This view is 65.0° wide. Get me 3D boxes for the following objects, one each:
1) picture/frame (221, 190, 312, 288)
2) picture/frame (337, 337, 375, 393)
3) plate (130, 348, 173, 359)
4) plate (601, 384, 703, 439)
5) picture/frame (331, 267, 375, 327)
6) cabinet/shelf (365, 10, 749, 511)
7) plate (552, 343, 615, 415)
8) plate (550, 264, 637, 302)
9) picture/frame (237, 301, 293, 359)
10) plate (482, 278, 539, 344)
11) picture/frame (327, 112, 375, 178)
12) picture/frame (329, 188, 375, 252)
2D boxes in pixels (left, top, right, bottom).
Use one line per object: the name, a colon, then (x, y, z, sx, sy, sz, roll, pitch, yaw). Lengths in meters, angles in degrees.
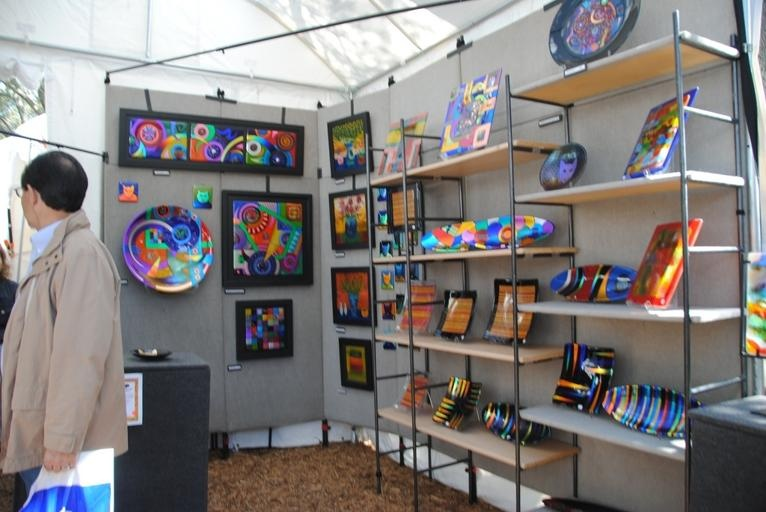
picture/frame: (-1.130, -0.164, 5.600, 0.821, 0.920, 0.057, 1, -4, -29)
picture/frame: (-0.251, 0.982, 5.561, 0.418, 0.460, 0.031, -2, 2, 44)
plate: (-1.535, 0.638, 3.995, 0.231, 0.054, 0.346, 0, -1, -28)
plate: (1.537, 0.890, 3.504, 0.331, 0.072, 0.280, 15, 53, 28)
picture/frame: (-0.263, 0.354, 5.470, 0.026, 0.588, 0.506, -2, 1, -38)
cabinet/shelf: (1.089, 0.064, 3.906, 2.201, 3.443, 0.585, -1, -1, 45)
plate: (1.274, 0.776, 3.794, 0.063, 0.479, 0.365, 25, -13, -38)
plate: (1.319, 0.161, 3.776, 0.540, 0.238, 0.238, -1, -1, 35)
picture/frame: (-1.127, 0.675, 5.572, 0.483, 0.540, 0.049, 1, -2, -29)
plate: (0.888, 0.362, 4.182, 0.309, 0.462, 0.088, 5, -8, 44)
picture/frame: (-0.322, -1.032, 5.592, 0.496, 0.537, 0.042, -2, 4, 39)
picture/frame: (-0.301, -0.348, 5.572, 0.518, 0.567, 0.038, -3, 2, 39)
